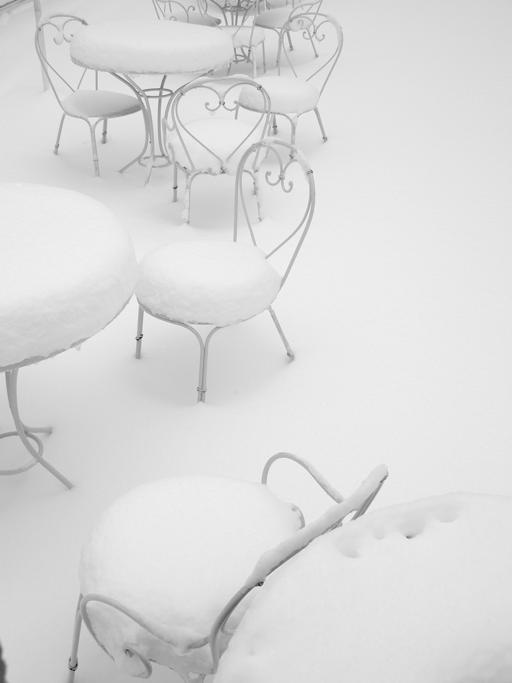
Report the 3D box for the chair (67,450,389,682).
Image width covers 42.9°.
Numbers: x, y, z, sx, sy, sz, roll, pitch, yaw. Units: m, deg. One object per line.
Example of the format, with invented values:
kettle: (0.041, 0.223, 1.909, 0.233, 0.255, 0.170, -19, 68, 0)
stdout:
chair: (-0.070, 0.361, 1.036, 0.266, 0.291, 0.413, -29, -33, -35)
